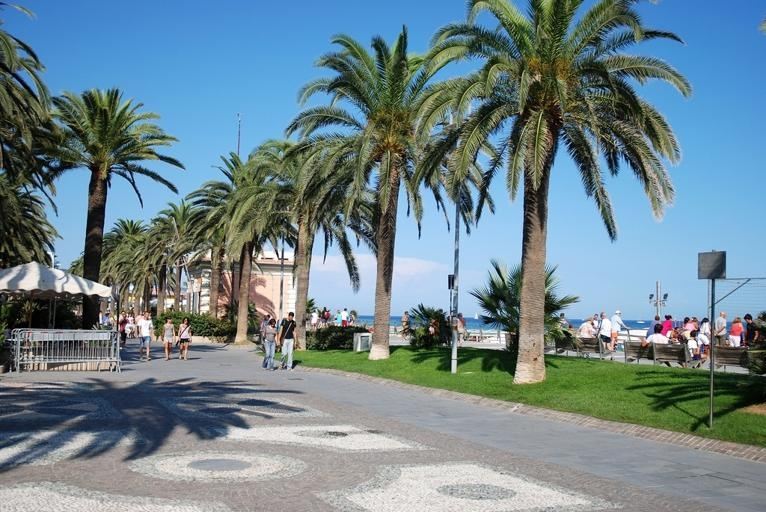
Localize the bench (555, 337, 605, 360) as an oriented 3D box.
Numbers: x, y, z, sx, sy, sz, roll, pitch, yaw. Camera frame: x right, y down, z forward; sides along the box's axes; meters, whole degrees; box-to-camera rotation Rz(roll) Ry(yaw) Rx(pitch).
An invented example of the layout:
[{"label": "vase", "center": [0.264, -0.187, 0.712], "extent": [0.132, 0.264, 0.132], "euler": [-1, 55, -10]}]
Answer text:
[{"label": "bench", "center": [8.491, 3.961, 26.037], "extent": [1.968, 0.840, 4.282], "euler": [-1, -9, 20]}]

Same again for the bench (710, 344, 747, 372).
[{"label": "bench", "center": [11.824, 3.453, 20.603], "extent": [0.857, 0.727, 1.910], "euler": [-2, -10, 28]}]
